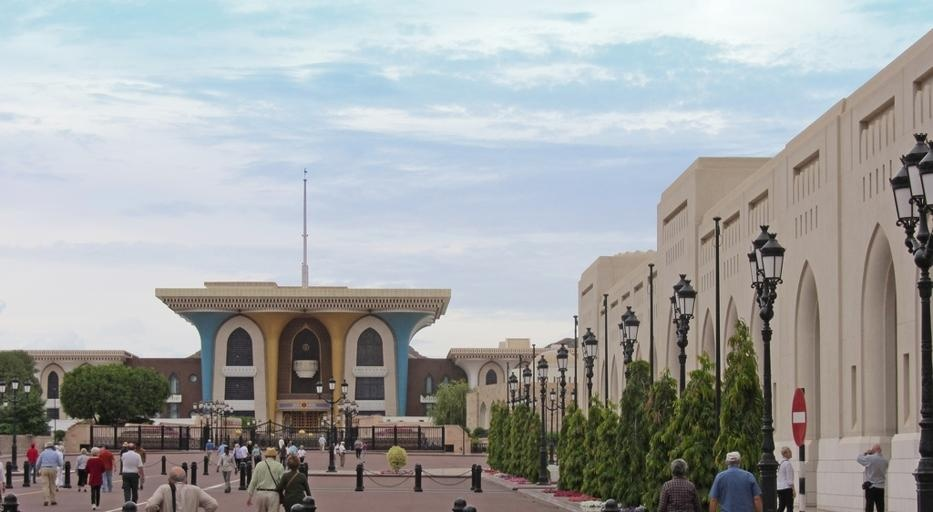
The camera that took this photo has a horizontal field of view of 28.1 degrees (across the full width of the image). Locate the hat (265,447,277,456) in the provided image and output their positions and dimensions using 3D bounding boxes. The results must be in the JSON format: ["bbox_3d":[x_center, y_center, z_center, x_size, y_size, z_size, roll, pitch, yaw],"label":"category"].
[{"bbox_3d":[-9.478,9.479,89.850,0.911,0.309,0.905,1,-4,-3],"label":"hat"}]
